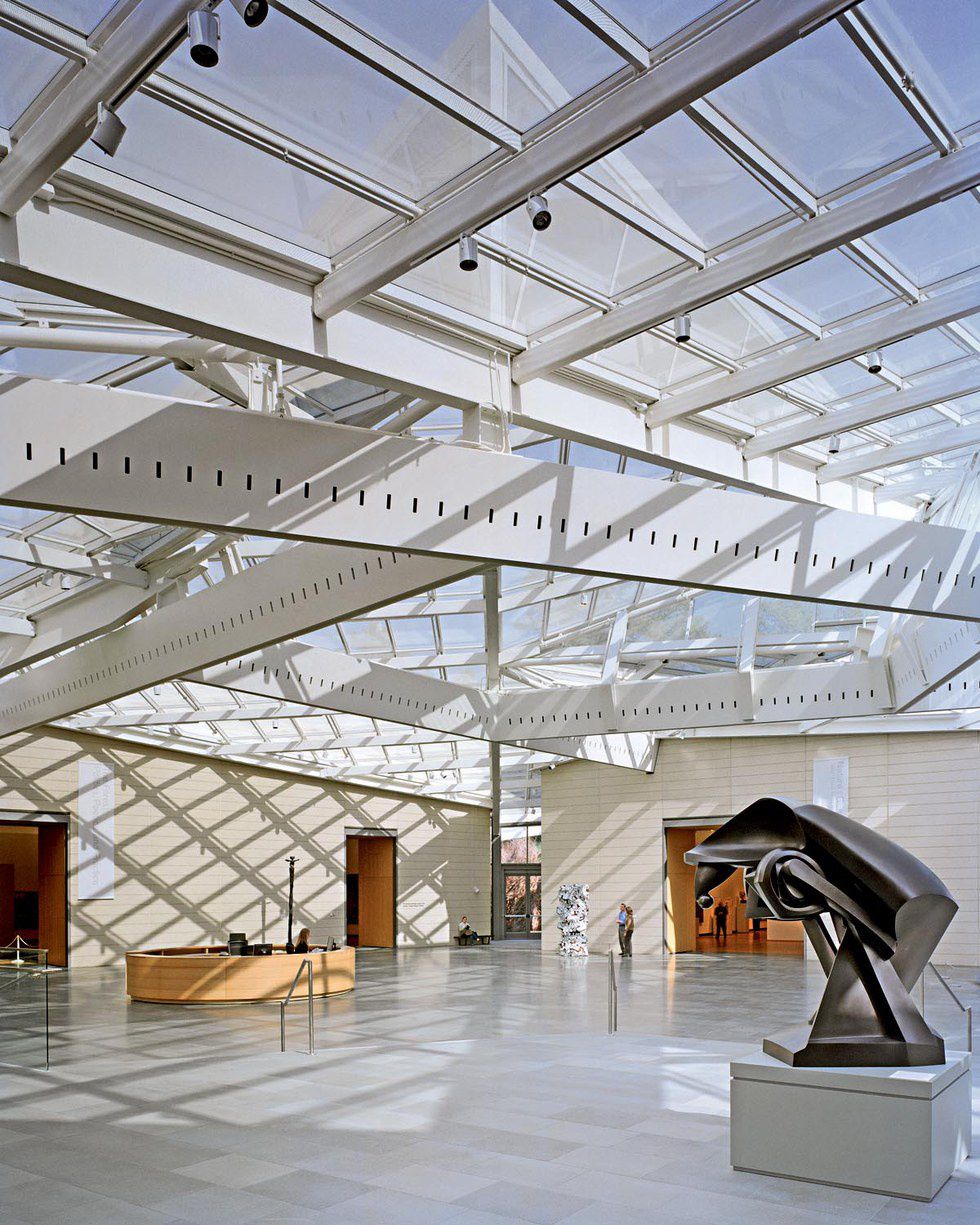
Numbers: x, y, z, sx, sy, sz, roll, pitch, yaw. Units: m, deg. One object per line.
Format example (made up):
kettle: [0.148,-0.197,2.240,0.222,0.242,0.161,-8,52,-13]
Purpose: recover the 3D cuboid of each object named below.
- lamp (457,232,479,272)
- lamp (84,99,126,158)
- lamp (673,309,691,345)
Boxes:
lamp: [-0.124,-1.993,5.855,0.076,0.162,0.116,-2,-12,11]
lamp: [-1.619,-2.047,4.459,0.117,0.330,0.209,5,-13,-22]
lamp: [1.301,-1.935,7.185,0.074,0.173,0.123,-5,-13,23]
